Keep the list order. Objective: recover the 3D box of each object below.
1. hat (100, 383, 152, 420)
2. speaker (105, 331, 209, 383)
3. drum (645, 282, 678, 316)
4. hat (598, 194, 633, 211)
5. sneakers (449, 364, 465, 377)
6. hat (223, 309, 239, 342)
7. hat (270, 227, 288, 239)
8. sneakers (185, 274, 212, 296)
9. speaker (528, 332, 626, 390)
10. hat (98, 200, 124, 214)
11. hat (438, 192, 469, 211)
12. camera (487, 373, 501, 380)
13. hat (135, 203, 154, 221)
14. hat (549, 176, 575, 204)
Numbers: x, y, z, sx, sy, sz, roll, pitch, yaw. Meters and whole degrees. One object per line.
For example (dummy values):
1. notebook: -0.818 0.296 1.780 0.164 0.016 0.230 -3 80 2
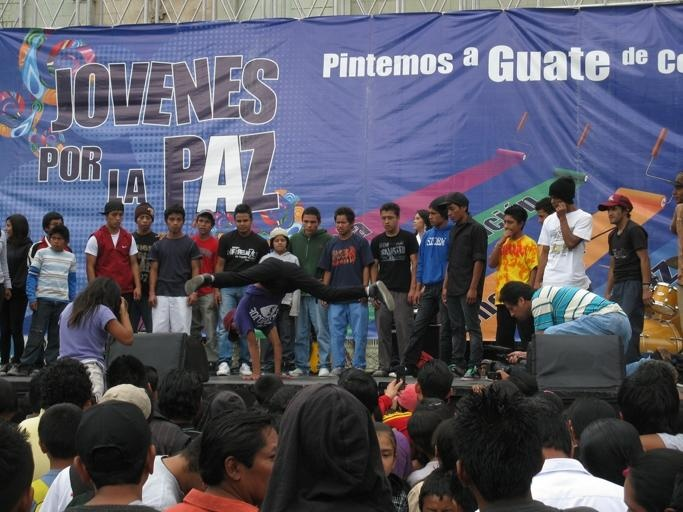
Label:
1. hat: -1.797 1.209 8.923 0.291 0.159 0.413 7 -6 23
2. speaker: -1.878 1.053 11.906 0.794 0.500 0.766 2 -5 11
3. drum: 3.884 0.440 12.995 0.413 0.393 0.417 13 -14 21
4. hat: 3.307 -0.653 12.917 0.363 0.188 0.230 9 -2 5
5. sneakers: 1.385 1.354 12.724 0.194 0.132 0.454 2 -4 6
6. hat: -1.390 0.892 13.520 0.145 0.354 0.287 -2 13 4
7. hat: -0.809 -0.329 13.784 0.172 0.137 0.171 2 -14 -7
8. sneakers: -1.709 0.348 12.729 0.294 0.117 0.228 -35 -25 26
9. speaker: 2.454 1.091 10.862 0.826 0.522 0.587 0 -8 4
10. hat: -3.042 -0.657 14.198 0.237 0.177 0.191 -27 -29 27
11. hat: 1.372 -0.683 13.150 0.337 0.176 0.206 0 -4 -3
12. camera: 1.681 1.320 11.757 0.094 0.066 0.098 3 -4 6
13. hat: -2.578 -0.614 14.075 0.220 0.241 0.291 8 -12 -32
14. hat: 2.640 -0.799 12.736 0.337 0.336 0.256 11 -2 -8
